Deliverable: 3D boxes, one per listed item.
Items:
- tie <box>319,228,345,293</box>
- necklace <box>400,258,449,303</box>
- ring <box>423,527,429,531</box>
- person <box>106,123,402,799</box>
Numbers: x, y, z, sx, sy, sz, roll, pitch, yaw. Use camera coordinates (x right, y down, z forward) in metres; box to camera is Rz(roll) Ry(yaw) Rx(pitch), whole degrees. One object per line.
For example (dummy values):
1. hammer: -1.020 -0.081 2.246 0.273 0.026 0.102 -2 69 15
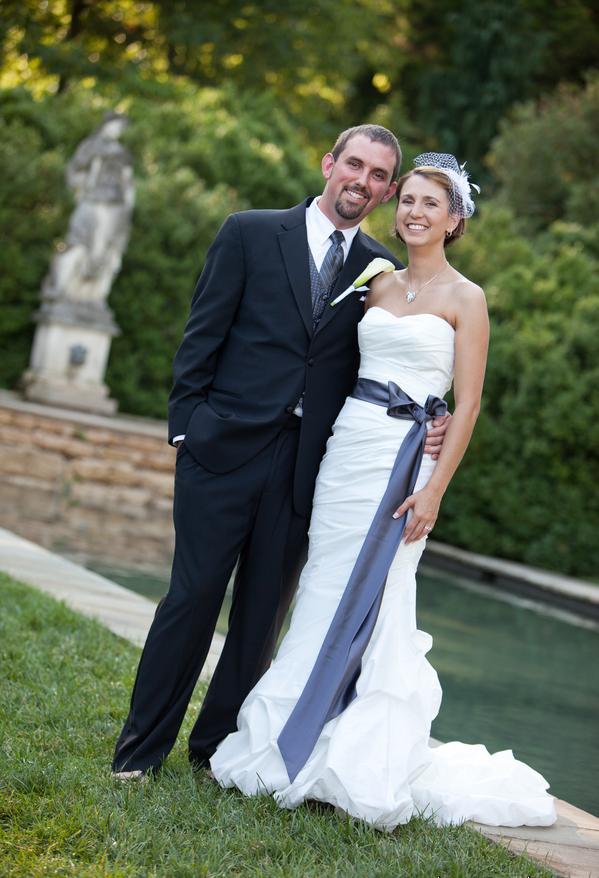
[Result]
1. tie: 0.108 -0.616 3.369 0.076 0.219 0.037 21 -13 -14
2. necklace: 0.431 -0.547 3.377 0.067 0.188 0.021 51 4 25
3. ring: 0.417 0.297 3.242 0.017 0.014 0.004 2 -1 -27
4. person: -0.135 0.019 3.251 0.621 1.967 0.414 12 3 -16
